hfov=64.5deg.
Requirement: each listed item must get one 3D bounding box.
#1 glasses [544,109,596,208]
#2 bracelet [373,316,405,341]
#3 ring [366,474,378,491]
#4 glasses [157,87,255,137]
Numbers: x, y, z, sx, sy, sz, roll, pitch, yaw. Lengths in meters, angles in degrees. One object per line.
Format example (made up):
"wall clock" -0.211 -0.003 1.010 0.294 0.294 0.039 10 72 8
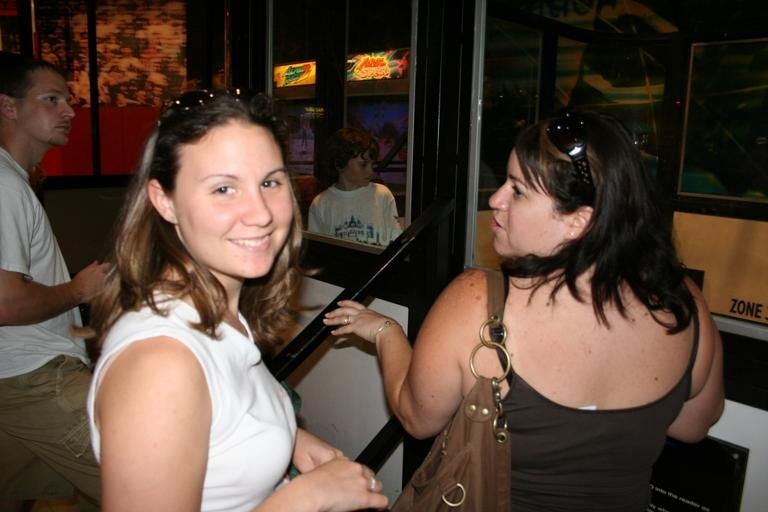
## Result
"glasses" 0.643 -0.328 2.082 0.076 0.269 0.211 -24 16 -30
"bracelet" 0.021 0.320 2.693 0.099 0.039 0.086 -43 -29 -8
"ring" -0.039 0.783 2.093 0.034 0.045 0.021 -38 3 -37
"glasses" -0.618 -0.451 2.021 0.176 0.050 0.181 -19 -1 -45
